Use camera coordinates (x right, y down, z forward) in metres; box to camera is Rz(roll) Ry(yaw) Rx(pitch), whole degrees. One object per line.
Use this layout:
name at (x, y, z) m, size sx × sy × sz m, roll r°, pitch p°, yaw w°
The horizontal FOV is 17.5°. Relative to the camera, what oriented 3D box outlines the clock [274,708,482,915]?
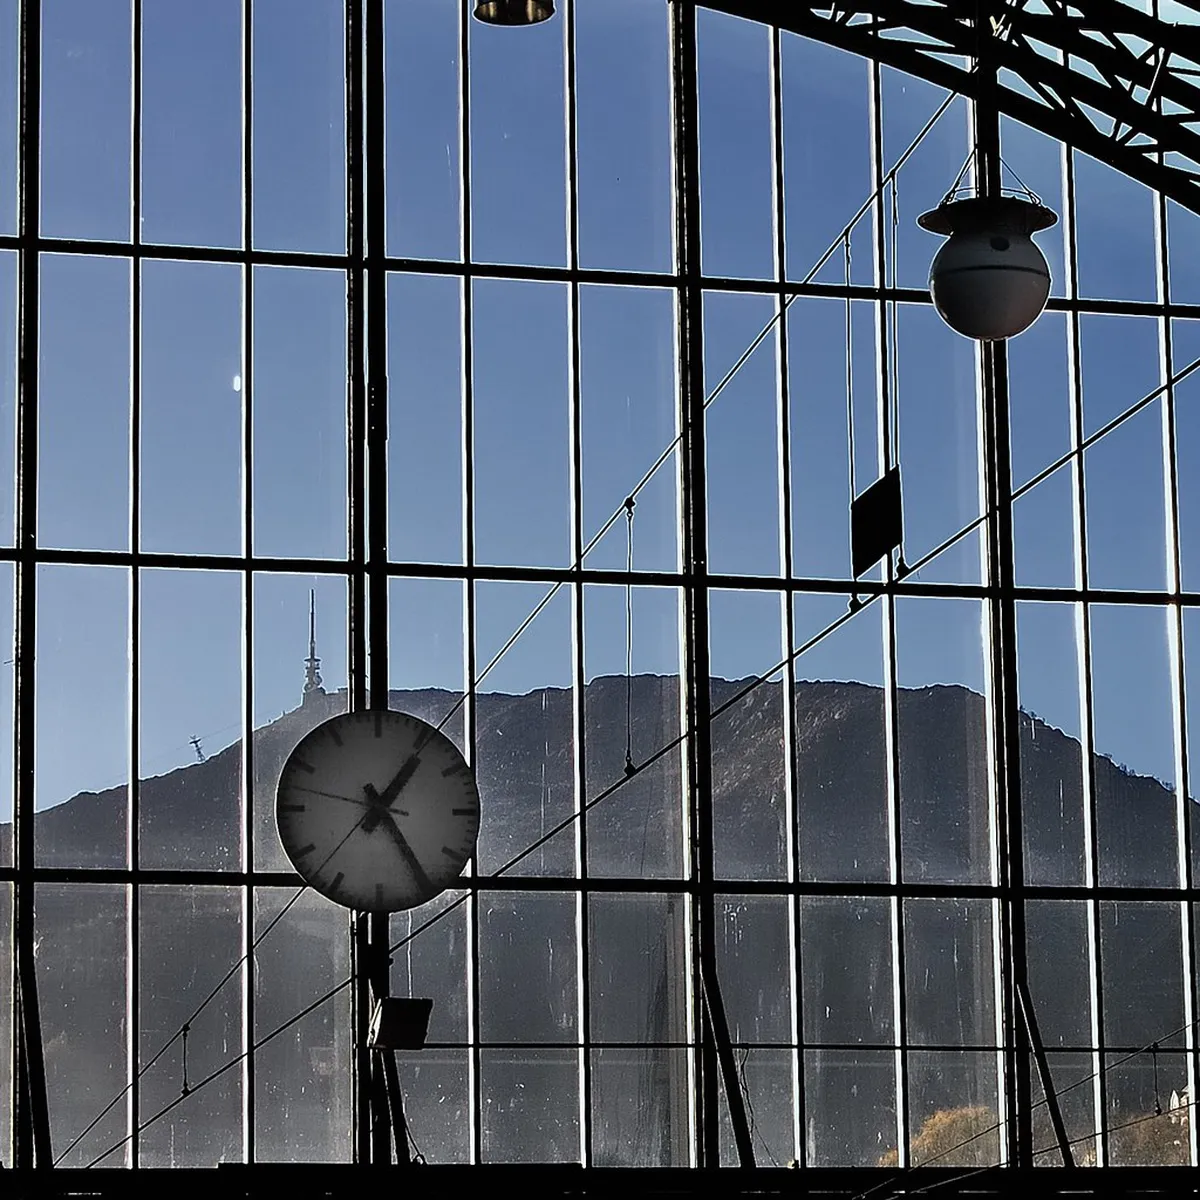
clock at (-1.085, 1.036, 18.958) m, size 0.863 × 1.050 × 0.058 m, roll 0°, pitch 2°, yaw -6°
